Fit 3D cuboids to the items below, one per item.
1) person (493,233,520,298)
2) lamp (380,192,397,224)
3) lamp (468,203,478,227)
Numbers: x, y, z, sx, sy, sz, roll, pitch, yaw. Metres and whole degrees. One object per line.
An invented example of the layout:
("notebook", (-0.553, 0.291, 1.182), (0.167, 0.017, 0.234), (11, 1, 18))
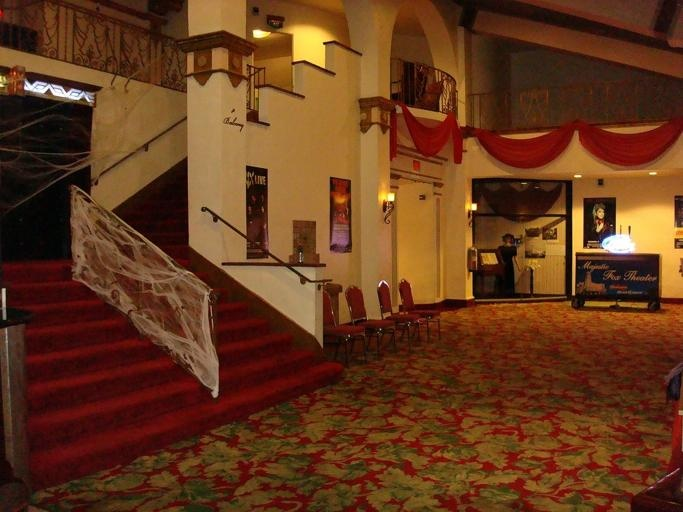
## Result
("person", (4.693, 0.249, 15.422), (0.654, 1.790, 0.147), (-2, 3, -27))
("lamp", (0.981, -1.002, 11.255), (0.190, 0.644, 0.445), (0, 3, 17))
("lamp", (3.574, -1.169, 14.768), (0.176, 0.620, 0.702), (1, 4, 20))
